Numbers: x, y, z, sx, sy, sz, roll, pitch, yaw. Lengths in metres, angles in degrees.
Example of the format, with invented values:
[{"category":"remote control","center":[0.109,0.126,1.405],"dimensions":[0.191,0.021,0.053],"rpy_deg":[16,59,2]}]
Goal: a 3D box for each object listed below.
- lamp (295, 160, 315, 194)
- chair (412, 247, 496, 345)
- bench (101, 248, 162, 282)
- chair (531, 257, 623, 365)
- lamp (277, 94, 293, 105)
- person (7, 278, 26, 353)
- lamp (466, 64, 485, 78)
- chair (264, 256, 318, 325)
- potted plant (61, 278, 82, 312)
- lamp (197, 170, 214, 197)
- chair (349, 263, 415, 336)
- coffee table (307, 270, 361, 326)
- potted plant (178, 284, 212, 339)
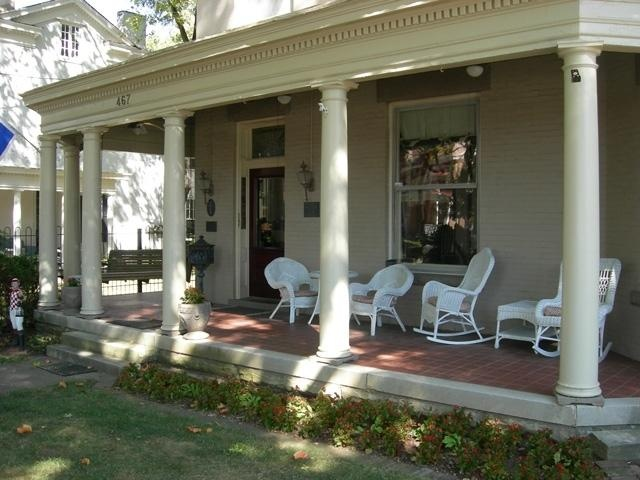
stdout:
[{"category":"lamp","center":[-0.256,-1.157,9.998],"dimensions":[0.277,0.644,0.373],"rpy_deg":[-6,-6,34]},{"category":"chair","center":[2.018,0.847,8.044],"dimensions":[1.157,1.378,1.109],"rpy_deg":[-5,9,-3]},{"category":"bench","center":[-4.981,0.834,14.337],"dimensions":[1.449,0.787,1.795],"rpy_deg":[-8,10,-18]},{"category":"chair","center":[3.330,0.871,6.888],"dimensions":[0.991,1.311,0.911],"rpy_deg":[3,1,-17]},{"category":"lamp","center":[-0.659,-2.652,10.076],"dimensions":[0.279,0.168,0.547],"rpy_deg":[-5,9,-3]},{"category":"person","center":[-5.823,1.429,10.306],"dimensions":[0.268,1.334,0.675],"rpy_deg":[-10,11,-30]},{"category":"lamp","center":[2.354,-2.558,8.108],"dimensions":[0.261,0.170,0.310],"rpy_deg":[-2,10,18]},{"category":"chair","center":[-0.466,0.895,9.589],"dimensions":[0.855,1.134,1.013],"rpy_deg":[-1,1,-38]},{"category":"potted plant","center":[-4.729,1.044,10.196],"dimensions":[0.362,0.619,0.386],"rpy_deg":[-9,10,-26]},{"category":"lamp","center":[-2.421,-1.217,11.439],"dimensions":[0.244,0.544,0.294],"rpy_deg":[-11,11,-34]},{"category":"chair","center":[0.974,0.949,8.714],"dimensions":[0.970,1.129,1.003],"rpy_deg":[2,0,-8]},{"category":"coffee table","center":[0.211,0.986,9.313],"dimensions":[0.861,0.984,0.873],"rpy_deg":[2,-4,-31]},{"category":"potted plant","center":[-1.888,1.110,8.098],"dimensions":[0.431,0.695,0.444],"rpy_deg":[-1,0,-18]}]
